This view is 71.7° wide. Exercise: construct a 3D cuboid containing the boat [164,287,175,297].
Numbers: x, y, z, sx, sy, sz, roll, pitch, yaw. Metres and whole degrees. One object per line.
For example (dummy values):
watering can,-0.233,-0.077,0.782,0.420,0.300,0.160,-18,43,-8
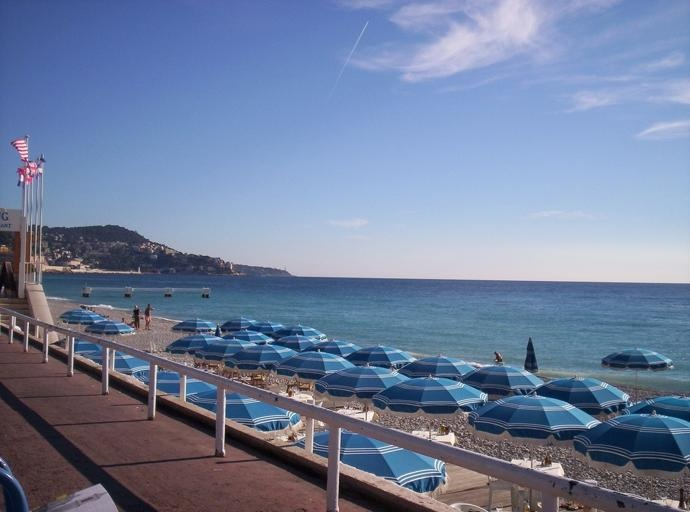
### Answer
boat,-42.289,8.873,114.289,1.594,2.288,18.413,1,-1,-21
